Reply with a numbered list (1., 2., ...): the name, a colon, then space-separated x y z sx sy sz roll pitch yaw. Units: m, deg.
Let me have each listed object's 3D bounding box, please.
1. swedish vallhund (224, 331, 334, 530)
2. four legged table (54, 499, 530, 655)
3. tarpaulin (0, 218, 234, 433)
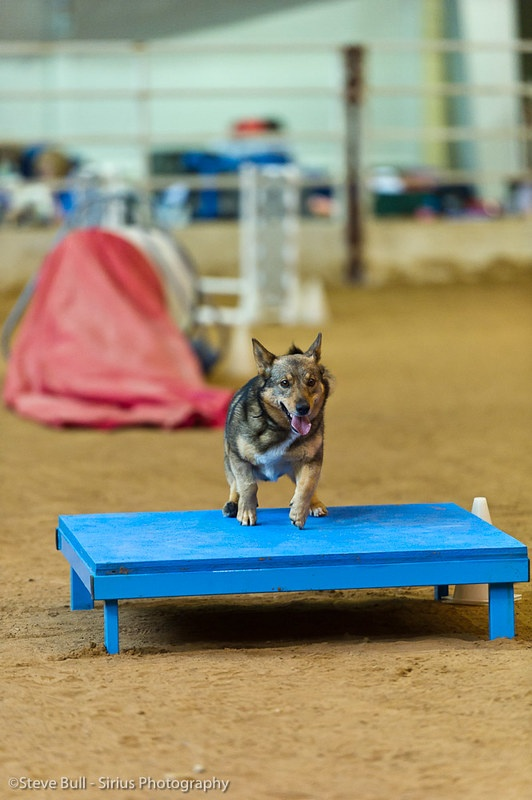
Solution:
1. swedish vallhund: 0.036 0.141 4.044 0.449 0.724 0.999 -2 1 -5
2. four legged table: 0.068 0.679 3.784 1.694 0.436 0.889 -1 7 -9
3. tarpaulin: -1.424 -0.726 8.740 1.618 1.704 2.282 -1 7 -4
